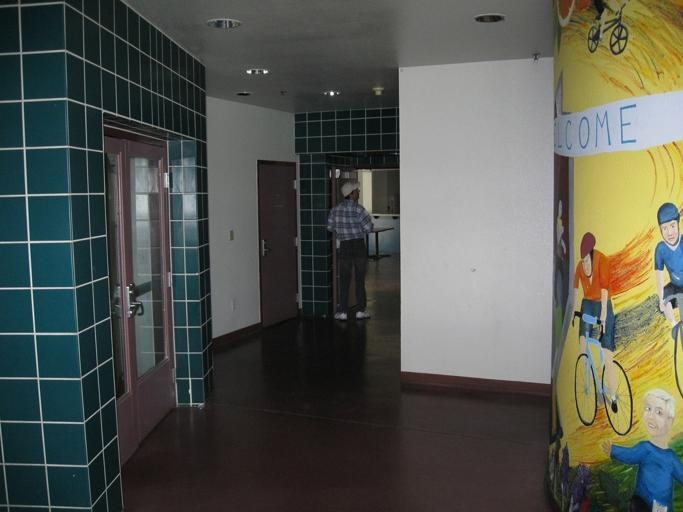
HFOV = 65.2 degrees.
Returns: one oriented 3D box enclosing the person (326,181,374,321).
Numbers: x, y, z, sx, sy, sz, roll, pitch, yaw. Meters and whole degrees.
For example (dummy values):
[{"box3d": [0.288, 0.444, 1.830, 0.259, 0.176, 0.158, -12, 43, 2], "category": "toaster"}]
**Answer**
[{"box3d": [0.110, -0.094, 7.913, 0.631, 2.004, 0.802, -1, 7, -2], "category": "person"}]
